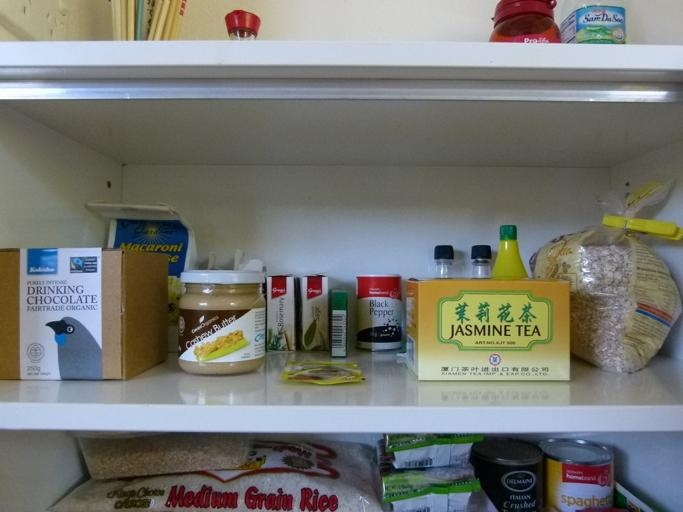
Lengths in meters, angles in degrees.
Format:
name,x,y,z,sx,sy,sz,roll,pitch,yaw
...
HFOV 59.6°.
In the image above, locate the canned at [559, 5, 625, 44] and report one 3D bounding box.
name,x,y,z,sx,sy,sz,roll,pitch,yaw
canned,0.493,-0.455,1.164,0.118,0.089,0.152,5,14,17
